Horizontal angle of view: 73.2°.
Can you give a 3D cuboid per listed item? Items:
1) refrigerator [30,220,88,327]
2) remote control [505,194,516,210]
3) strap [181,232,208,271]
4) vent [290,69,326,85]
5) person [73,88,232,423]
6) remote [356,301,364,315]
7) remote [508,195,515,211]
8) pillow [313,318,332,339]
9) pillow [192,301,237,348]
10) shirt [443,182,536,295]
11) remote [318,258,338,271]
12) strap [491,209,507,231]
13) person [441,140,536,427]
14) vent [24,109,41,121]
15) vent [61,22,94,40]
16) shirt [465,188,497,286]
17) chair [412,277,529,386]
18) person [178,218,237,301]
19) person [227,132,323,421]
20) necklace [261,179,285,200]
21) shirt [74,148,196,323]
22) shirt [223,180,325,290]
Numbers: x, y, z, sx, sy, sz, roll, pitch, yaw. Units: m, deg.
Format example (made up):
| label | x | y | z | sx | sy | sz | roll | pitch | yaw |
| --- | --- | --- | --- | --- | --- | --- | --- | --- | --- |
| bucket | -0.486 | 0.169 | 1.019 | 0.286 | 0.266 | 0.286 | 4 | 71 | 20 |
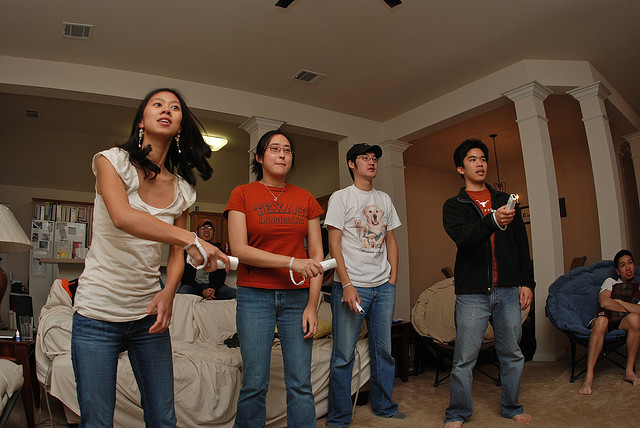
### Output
| label | x | y | z | sx | sy | sz | roll | pitch | yaw |
| --- | --- | --- | --- | --- | --- | --- | --- | --- | --- |
| refrigerator | -4.540 | 0.795 | 7.498 | 0.816 | 1.890 | 0.713 | 4 | 12 | -20 |
| remote control | 1.272 | -0.078 | 2.850 | 0.025 | 0.096 | 0.055 | 4 | 27 | -10 |
| strap | -0.613 | 0.183 | 2.213 | 0.113 | 0.186 | 0.049 | -31 | 1 | 24 |
| vent | -0.158 | -1.859 | 5.867 | 0.386 | 0.067 | 0.282 | 2 | -5 | -25 |
| person | -0.954 | 0.209 | 2.354 | 0.659 | 1.836 | 0.383 | 0 | -5 | -3 |
| remote | 0.293 | 0.684 | 3.121 | 0.036 | 0.035 | 0.146 | -33 | -26 | -7 |
| remote | 1.266 | -0.072 | 2.847 | 0.039 | 0.095 | 0.123 | -3 | -5 | 23 |
| pillow | 0.014 | 0.999 | 3.787 | 0.173 | 0.056 | 0.181 | -3 | 15 | -31 |
| pillow | -1.040 | 1.024 | 4.372 | 0.461 | 0.554 | 0.647 | 3 | -3 | -23 |
| shirt | 1.290 | 0.178 | 3.344 | 0.619 | 0.874 | 0.514 | 4 | -7 | -43 |
| remote | 0.046 | 0.295 | 2.496 | 0.092 | 0.068 | 0.105 | 0 | -5 | -1 |
| strap | 1.240 | 0.040 | 2.984 | 0.026 | 0.112 | 0.098 | -33 | -9 | 10 |
| person | 1.257 | 0.503 | 3.310 | 0.671 | 2.232 | 0.832 | -3 | -6 | 30 |
| vent | -4.414 | -1.516 | 6.605 | 0.208 | 0.063 | 0.444 | 2 | -6 | -32 |
| vent | -2.767 | -2.075 | 4.912 | 0.245 | 0.067 | 0.177 | -4 | -5 | -12 |
| shirt | 1.263 | 0.175 | 3.350 | 0.157 | 0.735 | 0.153 | 1 | -4 | -3 |
| chair | 1.319 | 1.181 | 4.358 | 1.031 | 1.090 | 1.105 | -3 | -13 | -20 |
| person | -1.390 | 0.547 | 5.411 | 0.828 | 1.085 | 0.898 | -3 | -10 | 11 |
| person | -0.302 | 0.386 | 2.815 | 0.638 | 1.946 | 0.488 | 0 | -5 | -1 |
| necklace | -0.325 | -0.159 | 2.936 | 0.115 | 0.112 | 0.029 | -2 | -19 | -14 |
| shirt | -0.996 | 0.112 | 2.355 | 0.574 | 0.922 | 0.223 | 3 | -6 | -32 |
| shirt | -0.309 | 0.100 | 2.844 | 0.521 | 0.742 | 0.445 | 5 | -5 | -25 |
